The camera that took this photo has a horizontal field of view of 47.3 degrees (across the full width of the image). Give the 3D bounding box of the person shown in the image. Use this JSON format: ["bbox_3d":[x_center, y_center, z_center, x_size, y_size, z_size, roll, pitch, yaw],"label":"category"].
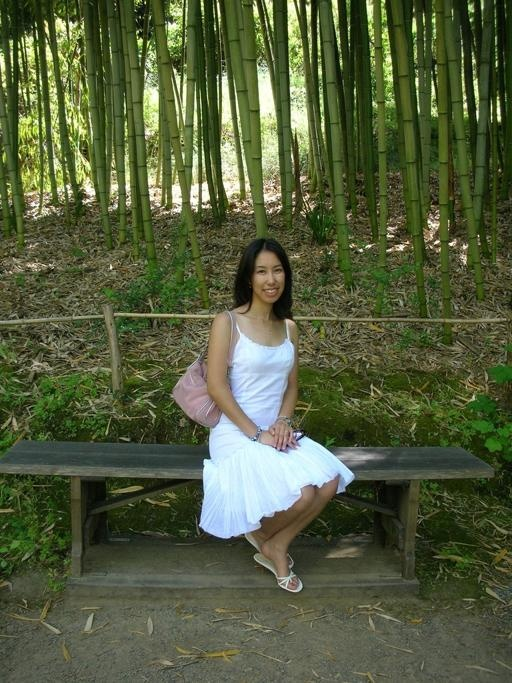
[{"bbox_3d":[0.041,0.241,1.910,0.477,1.118,0.578,-1,15,-11],"label":"person"}]

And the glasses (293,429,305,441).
[{"bbox_3d":[0.139,0.301,1.874,0.030,0.034,0.035,21,38,-28],"label":"glasses"}]

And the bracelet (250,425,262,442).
[{"bbox_3d":[-0.002,0.291,1.823,0.032,0.039,0.016,4,-3,22],"label":"bracelet"}]

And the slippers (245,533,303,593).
[{"bbox_3d":[0.020,0.727,1.949,0.102,0.107,0.287,-12,16,-34],"label":"slippers"}]

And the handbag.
[{"bbox_3d":[-0.191,0.175,2.045,0.138,0.240,0.242,9,11,-7],"label":"handbag"}]
